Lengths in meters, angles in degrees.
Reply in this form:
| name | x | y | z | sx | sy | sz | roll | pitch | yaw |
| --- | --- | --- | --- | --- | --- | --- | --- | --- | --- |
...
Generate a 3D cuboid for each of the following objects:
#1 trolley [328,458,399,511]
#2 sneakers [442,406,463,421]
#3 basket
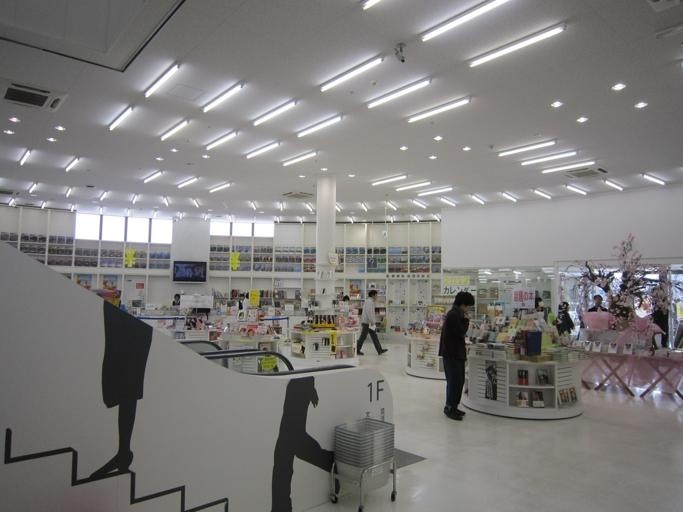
| name | x | y | z | sx | sy | sz | roll | pitch | yaw |
| --- | --- | --- | --- | --- | --- | --- | --- | --- | --- |
| trolley | 0.200 | 2.192 | 4.641 | 0.460 | 0.400 | 0.470 | 6 | -10 | -33 |
| sneakers | 1.657 | 2.353 | 7.112 | 0.281 | 0.211 | 0.116 | -4 | -7 | 28 |
| basket | 0.251 | 1.833 | 4.797 | 0.523 | 0.681 | 0.799 | -7 | -10 | 38 |
